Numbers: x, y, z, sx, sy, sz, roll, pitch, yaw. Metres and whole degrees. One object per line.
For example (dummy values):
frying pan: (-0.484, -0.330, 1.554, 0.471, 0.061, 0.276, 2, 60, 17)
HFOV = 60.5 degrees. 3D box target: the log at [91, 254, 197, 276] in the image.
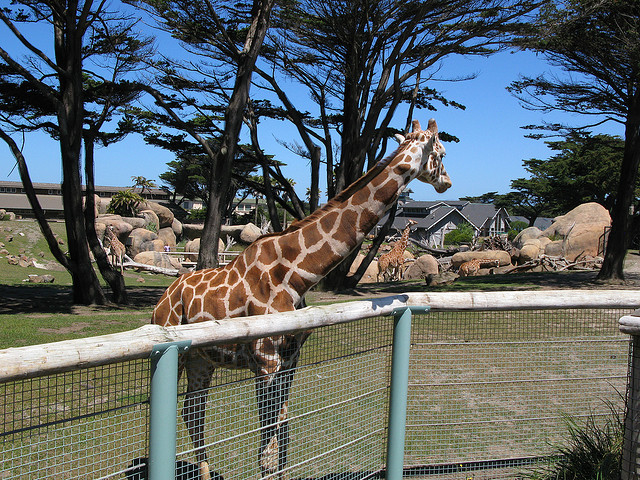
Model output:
log: (-7.669, 1.095, 23.684, 3.324, 0.412, 1.152, 4, 0, 26)

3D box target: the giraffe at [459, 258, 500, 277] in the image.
giraffe: (7.387, 1.231, 25.437, 0.925, 0.757, 2.828, -4, -2, 34)

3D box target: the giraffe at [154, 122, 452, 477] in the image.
giraffe: (-0.046, 0.329, 4.601, 2.283, 2.299, 2.326, -3, -1, -19)

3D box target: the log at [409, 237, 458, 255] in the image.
log: (9.199, 0.522, 44.511, 3.687, 1.025, 0.717, 14, -13, 1)
